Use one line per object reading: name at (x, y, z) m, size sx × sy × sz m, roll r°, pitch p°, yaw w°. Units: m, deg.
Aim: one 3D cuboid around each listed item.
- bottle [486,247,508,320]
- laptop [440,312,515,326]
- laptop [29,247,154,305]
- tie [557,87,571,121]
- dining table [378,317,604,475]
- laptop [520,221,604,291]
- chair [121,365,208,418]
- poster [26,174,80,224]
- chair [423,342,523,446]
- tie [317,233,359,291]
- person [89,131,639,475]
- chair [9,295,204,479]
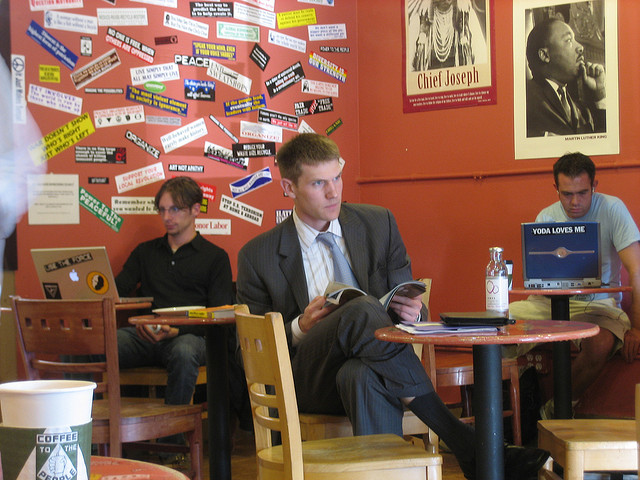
bottle at (0.628, 0.151, 2.240) m, size 0.067 × 0.204 × 0.252 m, roll -2°, pitch 0°, yaw 16°
laptop at (0.544, 0.273, 2.157) m, size 0.249 × 0.040 × 0.213 m, roll -4°, pitch 0°, yaw 10°
laptop at (-1.310, 0.188, 3.433) m, size 0.397 × 0.286 × 0.388 m, roll -5°, pitch -2°, yaw 19°
tie at (1.731, -0.994, 4.479) m, size 0.036 × 0.301 × 0.043 m, roll -8°, pitch 5°, yaw 16°
dining table at (0.564, 0.401, 2.195) m, size 0.531 × 0.671 × 0.563 m, roll -4°, pitch 2°, yaw -28°
laptop at (1.370, 0.176, 3.731) m, size 0.446 × 0.436 × 0.358 m, roll -1°, pitch -26°, yaw 0°
chair at (-0.979, 0.893, 3.727) m, size 0.482 × 0.271 × 0.286 m, roll 0°, pitch -3°, yaw -6°
poster at (-1.495, -0.222, 3.566) m, size 0.318 × 0.365 × 0.033 m, roll 0°, pitch 2°, yaw -23°
chair at (0.925, 0.913, 3.559) m, size 0.369 × 0.467 × 0.380 m, roll -3°, pitch -11°, yaw 19°
tie at (0.082, 0.087, 2.661) m, size 0.085 × 0.355 × 0.048 m, roll -20°, pitch -14°, yaw 1°
person at (0.201, 0.289, 3.183) m, size 1.679 × 1.133 × 0.856 m, roll -1°, pitch -7°, yaw -1°
chair at (-0.998, 0.660, 2.897) m, size 0.696 × 0.822 × 0.913 m, roll -3°, pitch 0°, yaw -37°
